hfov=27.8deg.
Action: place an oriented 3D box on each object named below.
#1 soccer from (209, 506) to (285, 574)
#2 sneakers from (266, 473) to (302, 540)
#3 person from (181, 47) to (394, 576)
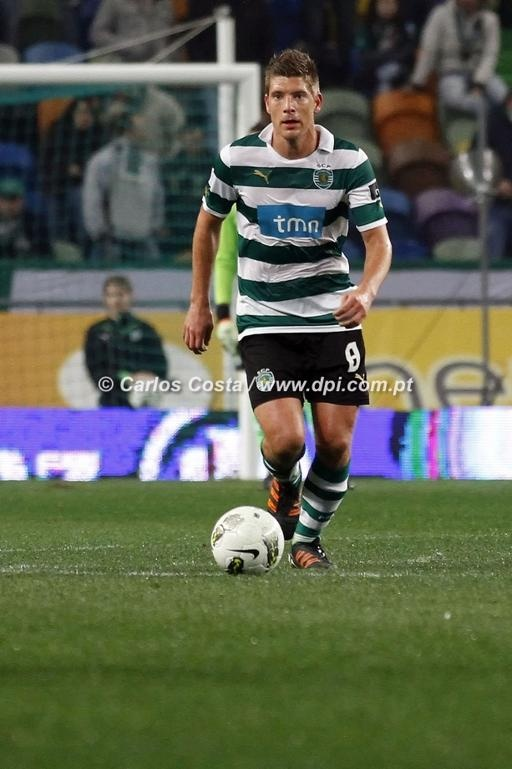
[{"bbox_3d":[-0.056,0.499,3.227,0.212,0.246,0.184,-21,63,36],"label":"soccer"},{"bbox_3d":[0.112,0.470,3.885,0.107,0.256,0.201,0,5,4],"label":"sneakers"},{"bbox_3d":[0.107,-0.220,3.664,0.668,1.681,0.989,2,50,2],"label":"person"}]
